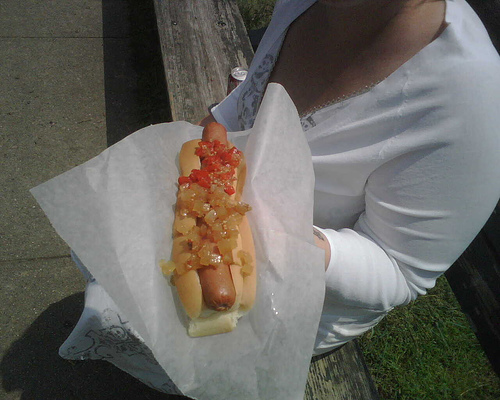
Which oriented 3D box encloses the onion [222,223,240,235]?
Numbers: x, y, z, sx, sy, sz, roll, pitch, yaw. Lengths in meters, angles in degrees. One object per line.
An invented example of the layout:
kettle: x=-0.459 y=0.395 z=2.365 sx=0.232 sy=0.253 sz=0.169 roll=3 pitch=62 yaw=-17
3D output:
onion: x=-0.092 y=0.140 z=1.770 sx=0.079 sy=0.025 sz=0.044 roll=16 pitch=65 yaw=-4

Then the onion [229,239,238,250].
onion: x=-0.076 y=0.201 z=1.763 sx=0.040 sy=0.040 sz=0.041 roll=-3 pitch=66 yaw=-11

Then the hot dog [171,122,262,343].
hot dog: x=-0.170 y=0.187 z=1.817 sx=0.368 sy=0.313 sz=1.047 roll=-2 pitch=77 yaw=-3

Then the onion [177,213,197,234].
onion: x=-0.296 y=0.110 z=1.819 sx=0.074 sy=0.055 sz=0.112 roll=19 pitch=65 yaw=-1

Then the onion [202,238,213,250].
onion: x=-0.196 y=0.208 z=1.773 sx=0.044 sy=0.017 sz=0.057 roll=-14 pitch=71 yaw=-16

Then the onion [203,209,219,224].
onion: x=-0.178 y=0.076 z=1.759 sx=0.046 sy=0.063 sz=0.066 roll=50 pitch=24 yaw=16

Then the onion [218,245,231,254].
onion: x=-0.114 y=0.220 z=1.747 sx=0.054 sy=0.045 sz=0.035 roll=3 pitch=29 yaw=-1

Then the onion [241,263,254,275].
onion: x=-0.013 y=0.325 z=1.812 sx=0.053 sy=0.046 sz=0.045 roll=20 pitch=64 yaw=0

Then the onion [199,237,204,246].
onion: x=-0.225 y=0.191 z=1.787 sx=0.016 sy=0.011 sz=0.037 roll=-6 pitch=57 yaw=-3

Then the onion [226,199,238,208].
onion: x=-0.084 y=0.009 z=1.818 sx=0.038 sy=0.013 sz=0.039 roll=36 pitch=31 yaw=26
